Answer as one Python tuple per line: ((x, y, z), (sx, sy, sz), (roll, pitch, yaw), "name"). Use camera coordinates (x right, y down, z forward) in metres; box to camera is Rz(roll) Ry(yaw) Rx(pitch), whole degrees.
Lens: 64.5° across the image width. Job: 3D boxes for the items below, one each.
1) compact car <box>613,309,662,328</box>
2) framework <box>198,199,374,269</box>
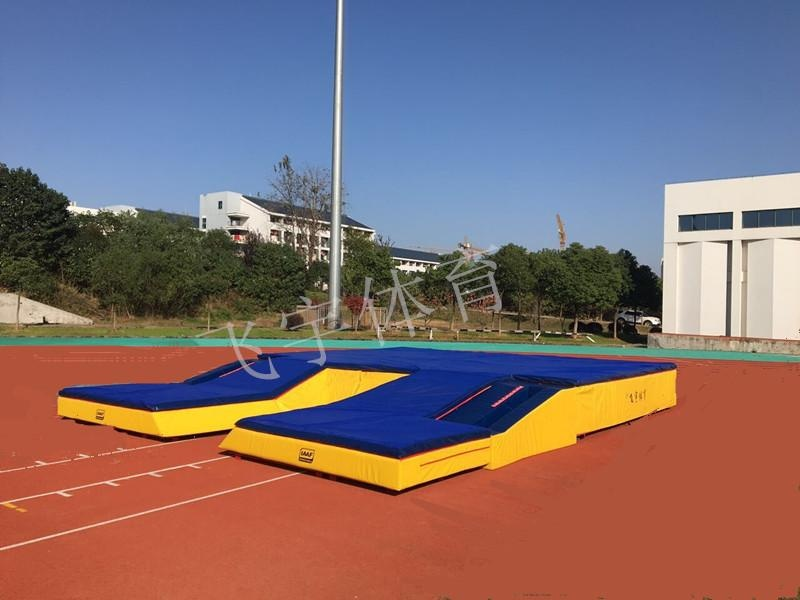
((16.450, 1.538, 43.531), (3.646, 1.415, 1.597), (-2, 0, 34), "compact car")
((-9.715, -5.220, 51.313), (5.911, 4.656, 11.262), (2, -1, 44), "framework")
